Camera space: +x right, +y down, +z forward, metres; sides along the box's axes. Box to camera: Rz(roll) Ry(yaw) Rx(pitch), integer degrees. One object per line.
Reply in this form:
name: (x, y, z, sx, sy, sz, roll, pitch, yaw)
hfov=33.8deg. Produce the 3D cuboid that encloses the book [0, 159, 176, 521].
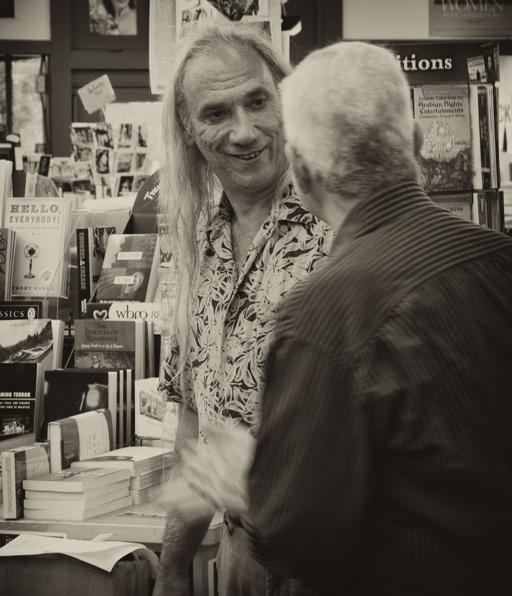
book: (-0.469, 0.271, 2.327, 0.390, 0.736, 0.222, 0, -24, 9)
